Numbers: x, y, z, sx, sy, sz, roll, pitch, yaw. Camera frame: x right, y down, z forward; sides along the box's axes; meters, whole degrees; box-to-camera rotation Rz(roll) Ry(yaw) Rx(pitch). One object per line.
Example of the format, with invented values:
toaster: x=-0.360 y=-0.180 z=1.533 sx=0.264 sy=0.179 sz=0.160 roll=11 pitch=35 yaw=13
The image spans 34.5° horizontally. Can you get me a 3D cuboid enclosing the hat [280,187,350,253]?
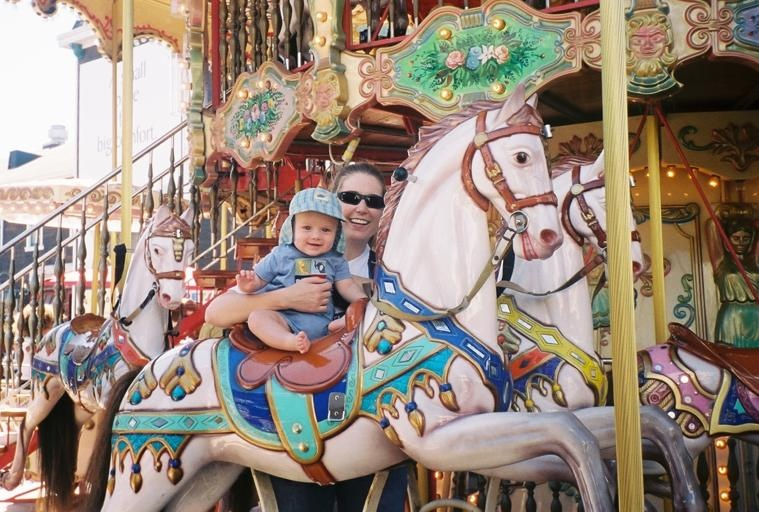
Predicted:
hat: x=-0.515 y=-0.272 z=9.258 sx=0.421 sy=0.484 sz=0.481 roll=2 pitch=-11 yaw=-4

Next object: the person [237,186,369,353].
person: x=-0.589 y=0.070 z=9.261 sx=0.872 sy=1.221 sz=0.802 roll=2 pitch=6 yaw=-13
